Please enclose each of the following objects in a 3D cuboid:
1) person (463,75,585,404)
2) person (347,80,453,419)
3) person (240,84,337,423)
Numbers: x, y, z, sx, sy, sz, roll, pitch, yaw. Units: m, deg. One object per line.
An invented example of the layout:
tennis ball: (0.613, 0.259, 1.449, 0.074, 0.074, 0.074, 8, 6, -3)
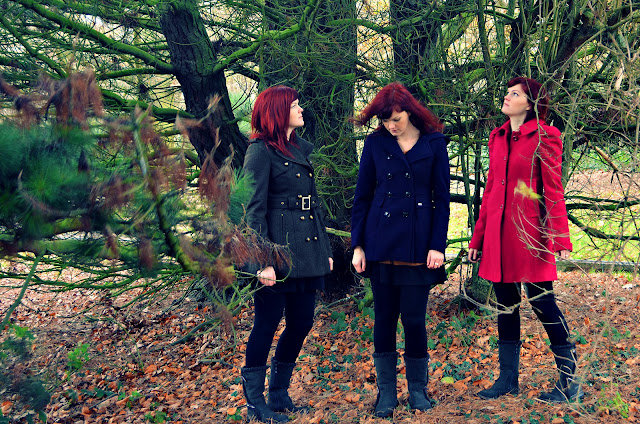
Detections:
person: (1.600, 0.222, 4.465, 0.808, 2.539, 0.847, -2, 12, 32)
person: (0.674, 0.282, 4.446, 0.848, 2.567, 0.568, -8, 10, 2)
person: (-0.334, 0.355, 4.381, 0.846, 2.599, 0.448, -9, 10, -5)
